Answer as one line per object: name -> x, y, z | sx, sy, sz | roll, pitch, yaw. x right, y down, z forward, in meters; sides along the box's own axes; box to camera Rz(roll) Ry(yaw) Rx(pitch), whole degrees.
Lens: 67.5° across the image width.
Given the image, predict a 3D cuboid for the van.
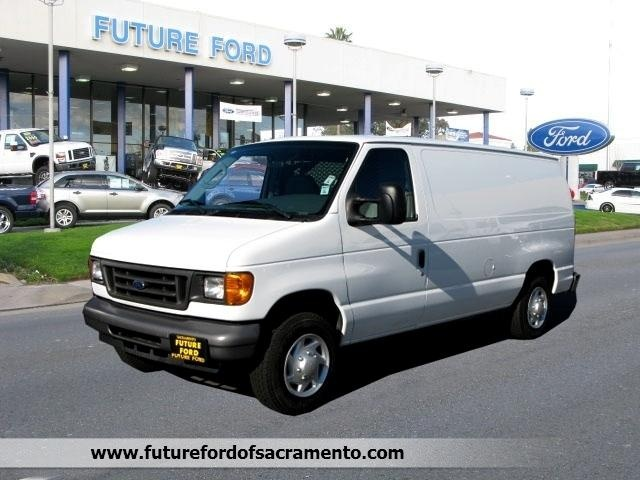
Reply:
van -> 0.459, 0.236, 5.725 | 5.160, 2.244, 2.817 | -1, 2, -40
